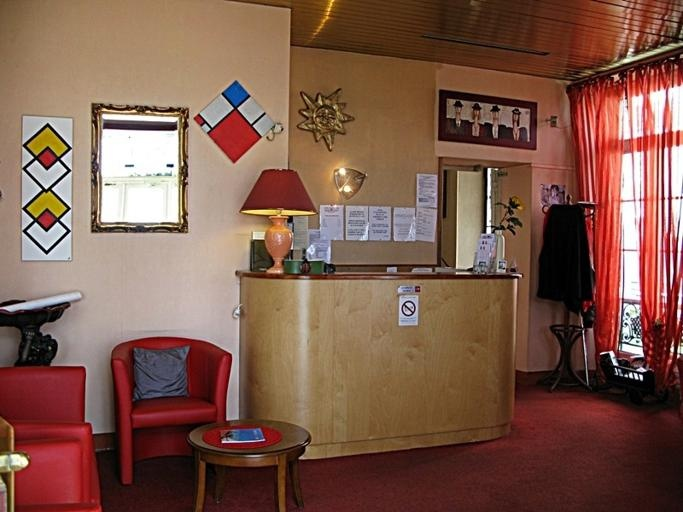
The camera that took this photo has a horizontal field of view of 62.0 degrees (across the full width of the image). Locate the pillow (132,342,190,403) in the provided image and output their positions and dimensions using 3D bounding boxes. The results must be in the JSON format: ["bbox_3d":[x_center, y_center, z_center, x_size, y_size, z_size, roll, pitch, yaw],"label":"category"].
[{"bbox_3d":[-1.489,0.975,4.670,0.352,0.376,0.143,3,-25,-21],"label":"pillow"}]

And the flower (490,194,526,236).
[{"bbox_3d":[1.939,-0.545,6.652,0.243,0.372,0.340,-20,23,-22],"label":"flower"}]

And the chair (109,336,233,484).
[{"bbox_3d":[-1.452,1.226,4.625,0.861,1.017,0.763,4,-1,-29],"label":"chair"}]

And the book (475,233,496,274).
[{"bbox_3d":[1.345,-0.028,5.387,0.202,0.356,0.206,2,5,23],"label":"book"}]

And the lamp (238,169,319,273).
[{"bbox_3d":[-0.581,-0.321,5.013,0.638,0.877,0.519,5,7,43],"label":"lamp"}]

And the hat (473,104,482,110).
[{"bbox_3d":[1.607,-1.769,6.766,0.076,0.096,0.071,0,-2,-3],"label":"hat"}]

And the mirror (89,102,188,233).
[{"bbox_3d":[-1.825,-0.791,5.015,1.000,1.445,0.108,1,-2,-17],"label":"mirror"}]
